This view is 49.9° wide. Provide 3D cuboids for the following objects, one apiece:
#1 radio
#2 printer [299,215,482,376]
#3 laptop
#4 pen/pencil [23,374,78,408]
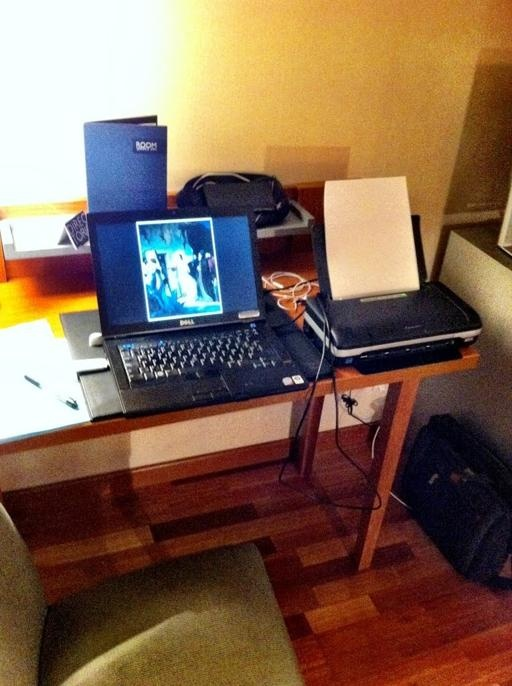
[{"bbox_3d":[-0.076,-0.415,1.544,0.365,0.114,0.291,-7,25,-24],"label":"radio"},{"bbox_3d":[0.281,-0.064,1.429,0.418,0.355,0.430,-15,38,-26],"label":"printer"},{"bbox_3d":[-0.121,-0.091,1.146,0.396,0.278,0.396,-7,33,-16],"label":"laptop"},{"bbox_3d":[-0.385,0.094,1.046,0.153,0.016,0.023,22,37,28],"label":"pen/pencil"}]
